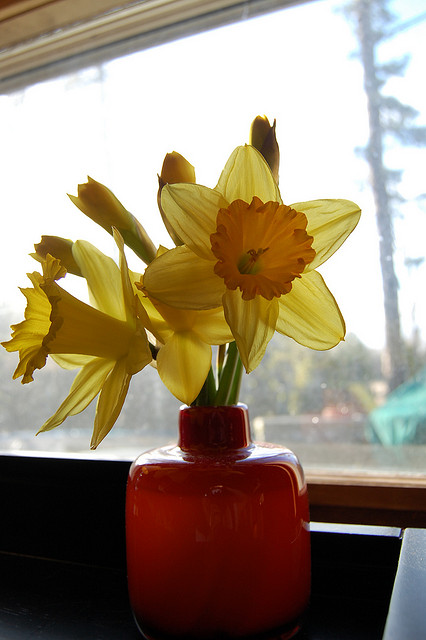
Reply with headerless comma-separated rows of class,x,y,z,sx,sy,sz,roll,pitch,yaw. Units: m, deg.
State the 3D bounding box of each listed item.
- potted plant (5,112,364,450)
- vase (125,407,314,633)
potted plant,-0.004,-0.056,0.681,0.400,0.349,0.321,-19,-15,-11
vase,0.006,0.211,0.680,0.238,0.248,0.230,-2,-8,1
